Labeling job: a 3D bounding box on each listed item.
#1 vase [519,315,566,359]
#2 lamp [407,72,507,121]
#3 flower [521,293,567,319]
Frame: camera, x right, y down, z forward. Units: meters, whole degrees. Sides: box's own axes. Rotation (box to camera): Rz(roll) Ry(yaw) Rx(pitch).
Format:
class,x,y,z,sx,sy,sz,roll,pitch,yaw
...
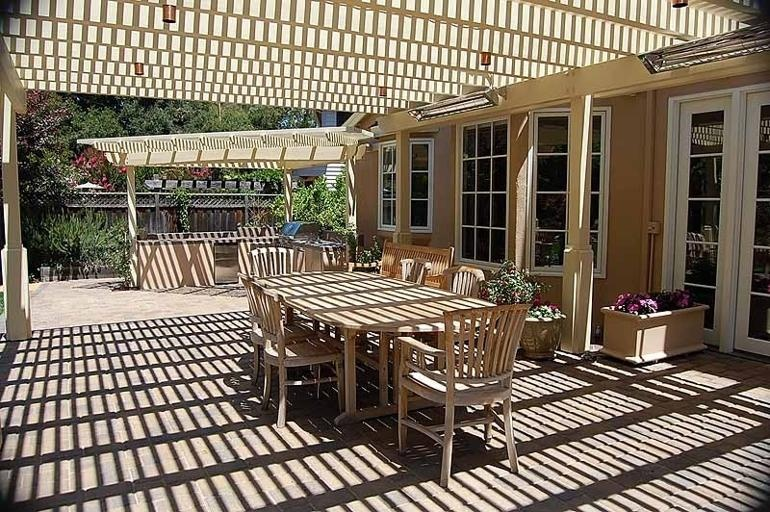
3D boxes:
class,x,y,z,sx,sy,sz,roll,pitch,yaw
vase,1.881,0.962,6.962,0.564,0.431,0.558,2,-3,-30
lamp,0.974,-2.150,8.212,0.361,0.397,1.653,-9,16,-30
flower,1.912,0.663,7.044,0.476,0.146,0.466,-3,7,-28
